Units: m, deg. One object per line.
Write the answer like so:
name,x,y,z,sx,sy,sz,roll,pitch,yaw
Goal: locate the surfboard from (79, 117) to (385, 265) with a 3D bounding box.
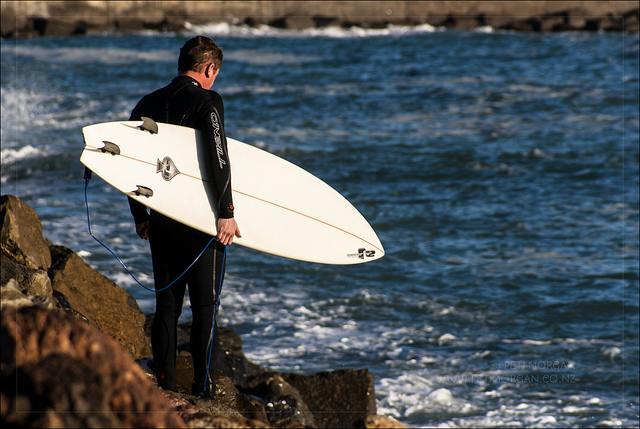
surfboard,-1.664,-0.392,33.828,8.111,2.201,1.050,20,-21,-8
